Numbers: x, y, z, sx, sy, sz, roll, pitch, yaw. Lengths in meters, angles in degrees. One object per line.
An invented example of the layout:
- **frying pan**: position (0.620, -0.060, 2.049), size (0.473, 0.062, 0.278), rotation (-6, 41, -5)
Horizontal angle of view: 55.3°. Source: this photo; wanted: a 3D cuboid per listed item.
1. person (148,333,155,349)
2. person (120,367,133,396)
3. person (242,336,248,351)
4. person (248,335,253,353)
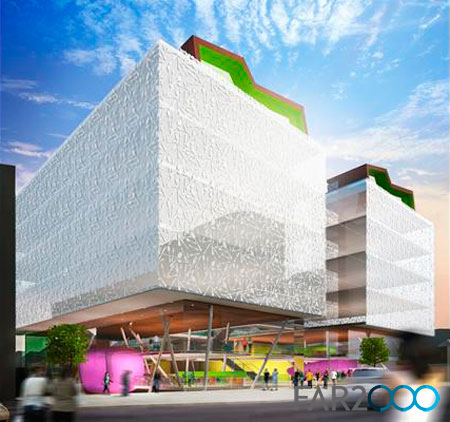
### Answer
- **person**: position (-4.711, 8.573, 27.942), size (0.349, 0.855, 1.279), rotation (6, -16, -12)
- **person**: position (-4.841, 8.410, 21.138), size (0.416, 1.141, 1.175), rotation (6, -16, -12)
- **person**: position (1.401, 9.248, 29.657), size (0.245, 0.948, 0.754), rotation (-4, -17, 25)
- **person**: position (1.793, 9.392, 30.238), size (0.270, 1.149, 0.911), rotation (0, -16, 11)
